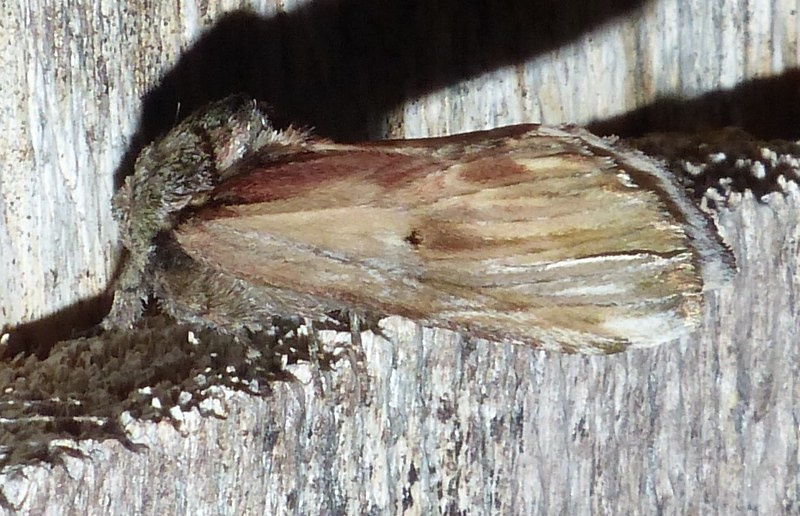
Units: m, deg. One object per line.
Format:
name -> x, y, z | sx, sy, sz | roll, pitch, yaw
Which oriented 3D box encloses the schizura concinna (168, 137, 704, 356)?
schizura concinna -> 0.283, -0.104, 9.739 | 2.349, 0.986, 0.364 | 4, -11, 8
